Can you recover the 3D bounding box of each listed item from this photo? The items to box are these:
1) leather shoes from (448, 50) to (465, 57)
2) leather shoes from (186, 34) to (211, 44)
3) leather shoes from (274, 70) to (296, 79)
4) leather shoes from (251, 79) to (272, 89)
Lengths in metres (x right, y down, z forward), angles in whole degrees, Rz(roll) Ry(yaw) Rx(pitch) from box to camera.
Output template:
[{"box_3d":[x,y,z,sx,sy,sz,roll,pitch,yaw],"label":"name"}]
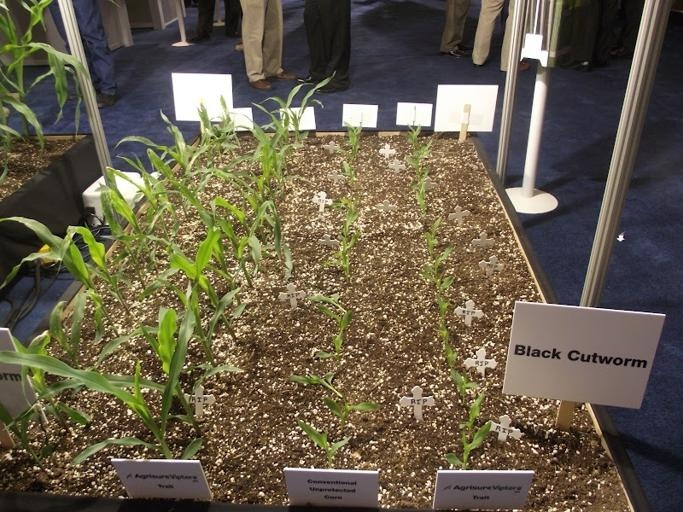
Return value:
[{"box_3d":[1.015,-1.819,4.373,0.148,0.062,0.059,4,56,14],"label":"leather shoes"},{"box_3d":[-1.433,-2.201,4.921,0.247,0.102,0.086,-19,52,-31],"label":"leather shoes"},{"box_3d":[-0.478,-1.531,4.068,0.165,0.069,0.073,1,45,4],"label":"leather shoes"},{"box_3d":[-0.621,-1.366,3.852,0.158,0.065,0.074,5,45,20],"label":"leather shoes"}]
